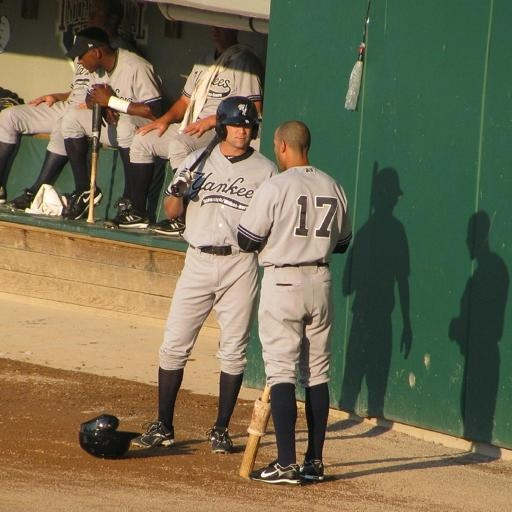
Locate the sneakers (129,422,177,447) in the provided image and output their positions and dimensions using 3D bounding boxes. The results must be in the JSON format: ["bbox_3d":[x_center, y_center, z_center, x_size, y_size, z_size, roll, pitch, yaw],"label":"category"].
[{"bbox_3d":[-0.587,1.016,6.254,0.262,0.172,0.102,2,-1,-25],"label":"sneakers"}]

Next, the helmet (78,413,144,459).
[{"bbox_3d":[-0.811,0.972,5.940,0.242,0.229,0.200,2,-1,8],"label":"helmet"}]

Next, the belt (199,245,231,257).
[{"bbox_3d":[-0.230,-0.037,6.159,0.190,0.061,0.029,7,11,14],"label":"belt"}]

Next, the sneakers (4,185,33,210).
[{"bbox_3d":[-2.042,-0.485,9.357,0.110,0.155,0.311,7,7,36],"label":"sneakers"}]

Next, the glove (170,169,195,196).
[{"bbox_3d":[-0.415,-0.395,6.204,0.065,0.165,0.098,22,-27,29],"label":"glove"}]

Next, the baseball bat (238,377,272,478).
[{"bbox_3d":[0.014,0.933,5.866,0.106,0.521,0.098,15,-9,-1],"label":"baseball bat"}]

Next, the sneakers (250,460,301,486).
[{"bbox_3d":[0.120,1.161,5.863,0.282,0.139,0.112,1,-13,23],"label":"sneakers"}]

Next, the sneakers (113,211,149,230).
[{"bbox_3d":[-1.010,-0.284,8.987,0.354,0.196,0.130,6,0,-12],"label":"sneakers"}]

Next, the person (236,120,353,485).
[{"bbox_3d":[0.213,0.365,5.887,0.632,1.651,0.522,1,10,-12],"label":"person"}]

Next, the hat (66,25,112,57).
[{"bbox_3d":[-1.408,-1.814,9.224,0.275,0.172,0.219,-12,13,-2],"label":"hat"}]

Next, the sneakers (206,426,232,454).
[{"bbox_3d":[-0.202,1.032,6.286,0.144,0.144,0.236,3,11,-3],"label":"sneakers"}]

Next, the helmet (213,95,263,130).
[{"bbox_3d":[-0.104,-0.810,6.161,0.239,0.166,0.188,4,11,0],"label":"helmet"}]
